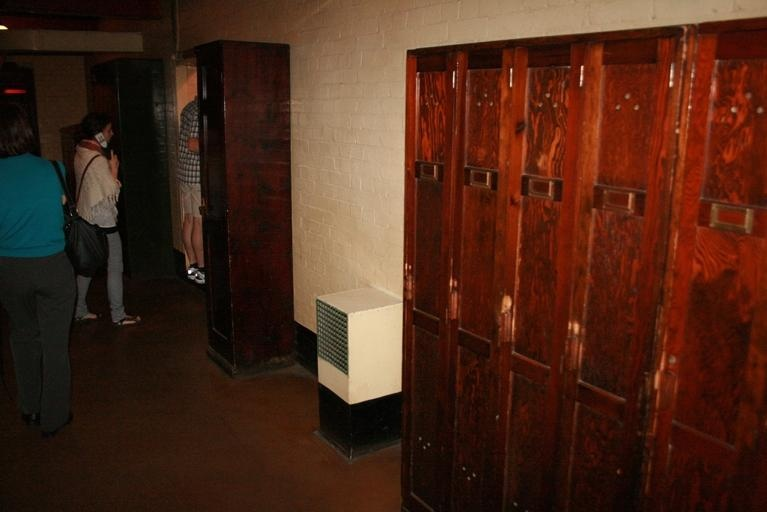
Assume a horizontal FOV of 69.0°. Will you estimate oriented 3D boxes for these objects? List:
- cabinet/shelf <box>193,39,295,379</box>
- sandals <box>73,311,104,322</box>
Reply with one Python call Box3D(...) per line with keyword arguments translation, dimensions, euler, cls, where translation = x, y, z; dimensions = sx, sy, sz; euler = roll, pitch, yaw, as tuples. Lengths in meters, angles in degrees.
Box3D(translation=(-1.140, -0.358, 4.652), dimensions=(0.868, 2.694, 0.550), euler=(-3, 17, -9), cls="cabinet/shelf")
Box3D(translation=(-3.060, 0.634, 5.799), dimensions=(0.239, 0.165, 0.080), euler=(7, -2, -19), cls="sandals")
